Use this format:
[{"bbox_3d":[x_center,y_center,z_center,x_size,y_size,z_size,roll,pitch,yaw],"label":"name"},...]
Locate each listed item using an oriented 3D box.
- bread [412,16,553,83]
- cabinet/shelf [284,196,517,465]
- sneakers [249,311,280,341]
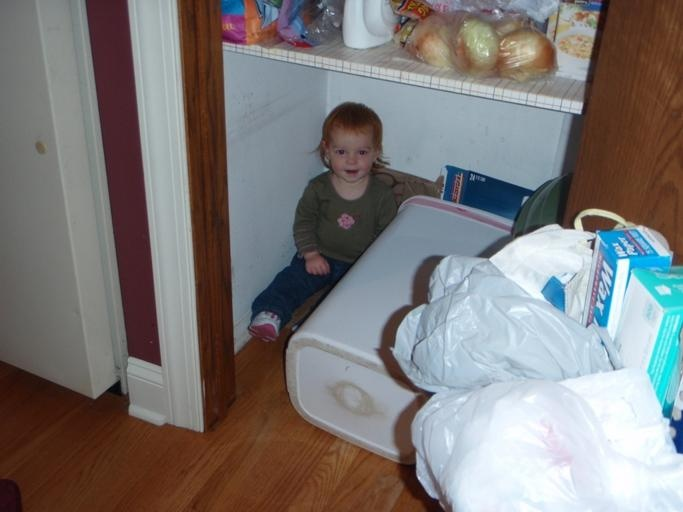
[{"bbox_3d":[0.278,-0.426,1.103,0.308,0.103,0.105,16,35,17],"label":"bread"},{"bbox_3d":[0.083,0.216,1.541,0.529,0.455,0.782,22,47,14],"label":"cabinet/shelf"},{"bbox_3d":[-0.237,0.216,1.685,0.060,0.055,0.121,-56,13,-13],"label":"sneakers"}]
